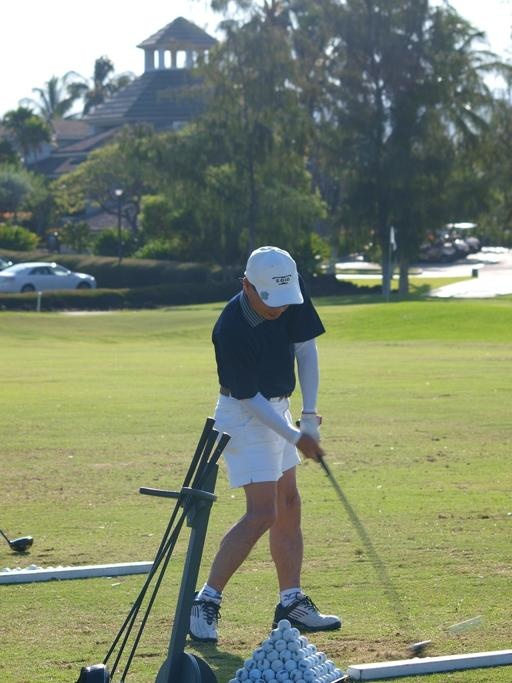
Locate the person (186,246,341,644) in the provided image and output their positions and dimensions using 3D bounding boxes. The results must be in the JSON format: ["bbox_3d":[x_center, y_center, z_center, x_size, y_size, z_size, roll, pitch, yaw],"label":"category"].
[{"bbox_3d":[0.108,0.953,17.951,1.401,3.631,1.118,0,0,26],"label":"person"}]

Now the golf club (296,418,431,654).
[{"bbox_3d":[1.014,2.046,18.994,0.286,2.152,0.225,-28,-13,33],"label":"golf club"}]
